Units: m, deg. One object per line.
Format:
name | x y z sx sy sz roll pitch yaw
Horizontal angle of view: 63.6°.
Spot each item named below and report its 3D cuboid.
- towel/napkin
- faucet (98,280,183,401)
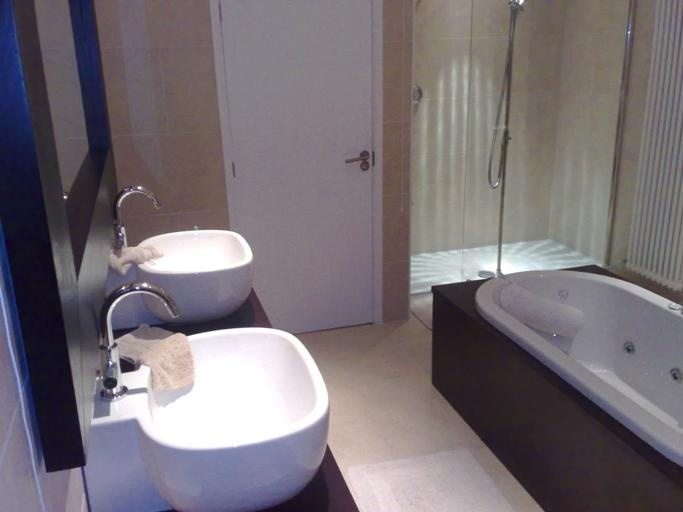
towel/napkin | -0.556 0.196 1.601 0.280 0.372 0.243 -2 26 -13
faucet | -0.481 0.192 1.296 0.189 0.293 0.098 -8 33 -30
